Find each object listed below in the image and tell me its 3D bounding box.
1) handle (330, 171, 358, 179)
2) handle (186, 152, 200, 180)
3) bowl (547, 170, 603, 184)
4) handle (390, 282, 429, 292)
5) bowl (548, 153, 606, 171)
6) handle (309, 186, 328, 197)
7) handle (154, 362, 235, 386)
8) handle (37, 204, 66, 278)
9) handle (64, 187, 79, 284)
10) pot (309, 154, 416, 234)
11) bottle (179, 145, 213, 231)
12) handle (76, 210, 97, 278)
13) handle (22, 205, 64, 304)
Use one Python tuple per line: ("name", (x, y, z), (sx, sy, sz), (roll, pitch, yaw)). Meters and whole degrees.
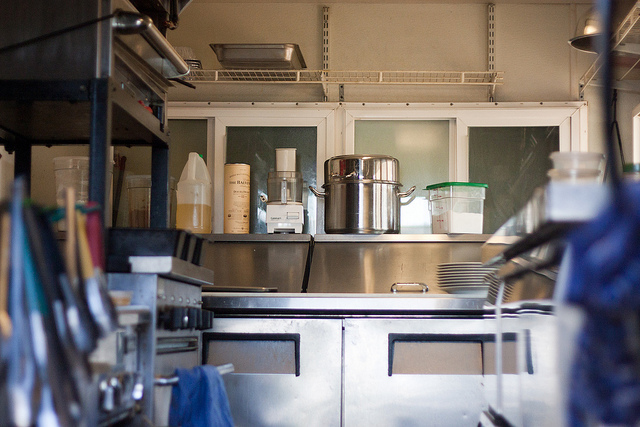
("handle", (0.106, -0.173, 2.890), (0.149, 0.028, 0.022), (-6, -10, 40))
("handle", (-0.621, -0.226, 3.014), (0.059, 0.135, 0.034), (1, -8, -6))
("bowl", (0.350, -0.049, 0.840), (0.045, 0.016, 0.045), (0, -2, 0))
("handle", (0.371, 0.316, 2.649), (0.144, 0.041, 0.490), (-1, -7, 5))
("bowl", (0.359, -0.073, 0.875), (0.040, 0.014, 0.039), (0, -3, 0))
("handle", (-0.009, -0.101, 2.991), (0.081, 0.028, 0.047), (8, 1, -1))
("handle", (-0.310, 0.399, 1.528), (0.078, 0.031, 0.337), (-2, -7, 15))
("handle", (-0.328, 0.041, 0.758), (0.018, 0.108, 0.012), (-15, -3, -5))
("handle", (-0.313, 0.039, 0.776), (0.021, 0.020, 0.197), (18, -44, -6))
("pot", (0.197, -0.075, 3.048), (0.561, 0.377, 0.380), (0, -6, 9))
("bottle", (-0.611, -0.099, 3.039), (0.156, 0.377, 0.106), (3, -8, -19))
("handle", (-0.295, 0.038, 0.772), (0.014, 0.084, 0.038), (-3, -8, 22))
("handle", (-0.338, 0.052, 0.753), (0.030, 0.127, 0.021), (-18, 16, -31))
